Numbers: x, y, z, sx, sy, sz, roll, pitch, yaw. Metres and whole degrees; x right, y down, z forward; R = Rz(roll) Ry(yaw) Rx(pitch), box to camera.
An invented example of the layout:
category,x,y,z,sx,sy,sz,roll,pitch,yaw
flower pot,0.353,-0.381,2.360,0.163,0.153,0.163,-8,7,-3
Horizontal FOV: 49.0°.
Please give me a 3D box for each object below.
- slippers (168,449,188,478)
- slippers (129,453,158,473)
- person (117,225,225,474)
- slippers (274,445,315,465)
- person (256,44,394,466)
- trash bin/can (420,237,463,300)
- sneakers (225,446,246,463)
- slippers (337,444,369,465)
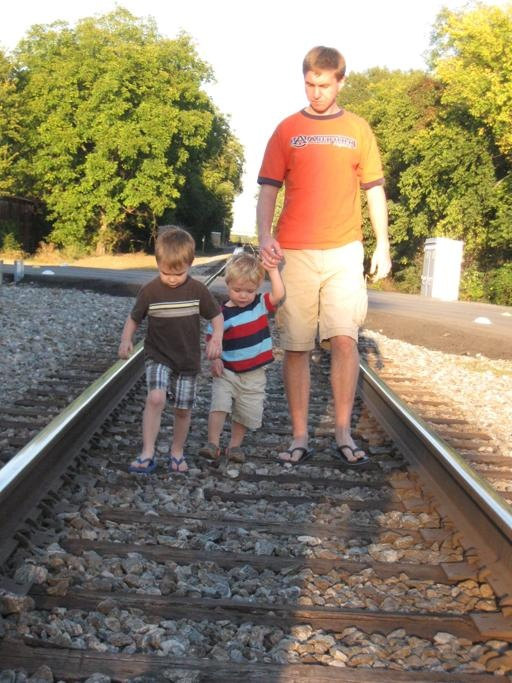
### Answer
category,x,y,z,sx,sy,sz,roll,pitch,yaw
slippers,-0.389,0.589,2.831,0.090,0.082,0.328,4,3,-8
slippers,-0.548,0.598,2.711,0.124,0.072,0.211,4,3,-9
person,-0.407,0.015,2.892,0.545,1.216,0.411,1,5,-44
slippers,0.232,0.605,3.034,0.261,0.076,0.123,2,4,-37
person,0.360,-0.436,3.101,0.769,2.153,0.458,4,4,0
trash bin/can,7.758,-3.082,23.465,1.405,2.587,1.975,5,4,14
sneakers,-0.107,0.592,2.941,0.080,0.060,0.135,4,4,-9
slippers,0.498,0.601,3.029,0.202,0.094,0.109,7,4,38
